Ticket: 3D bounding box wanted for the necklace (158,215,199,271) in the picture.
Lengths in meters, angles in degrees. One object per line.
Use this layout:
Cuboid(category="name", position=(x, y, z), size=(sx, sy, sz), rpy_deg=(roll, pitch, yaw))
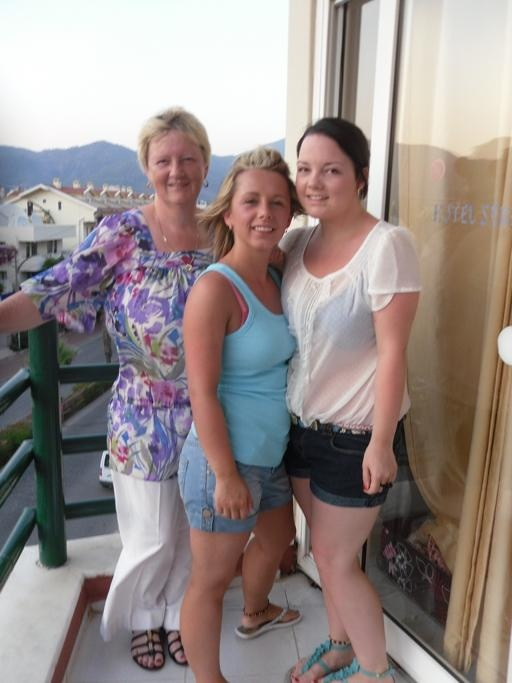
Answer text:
Cuboid(category="necklace", position=(-0.195, -0.230, 1.188), size=(0.065, 0.131, 0.049), rpy_deg=(-14, 1, -1))
